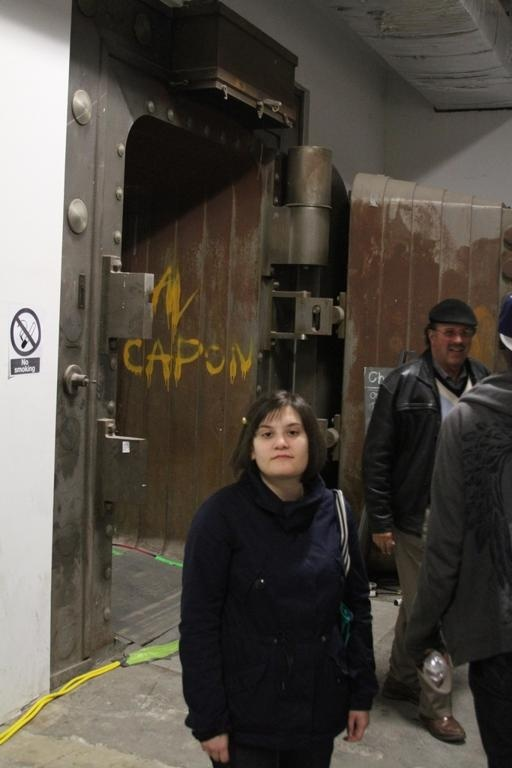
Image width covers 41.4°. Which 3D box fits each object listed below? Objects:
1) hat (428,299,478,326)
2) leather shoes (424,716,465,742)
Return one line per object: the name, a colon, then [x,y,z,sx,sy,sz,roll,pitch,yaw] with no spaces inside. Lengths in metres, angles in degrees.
hat: [0.865,-0.310,2.966,0.168,0.130,0.264,6,9,11]
leather shoes: [0.694,1.263,2.486,0.052,0.078,0.150,1,-11,-18]
